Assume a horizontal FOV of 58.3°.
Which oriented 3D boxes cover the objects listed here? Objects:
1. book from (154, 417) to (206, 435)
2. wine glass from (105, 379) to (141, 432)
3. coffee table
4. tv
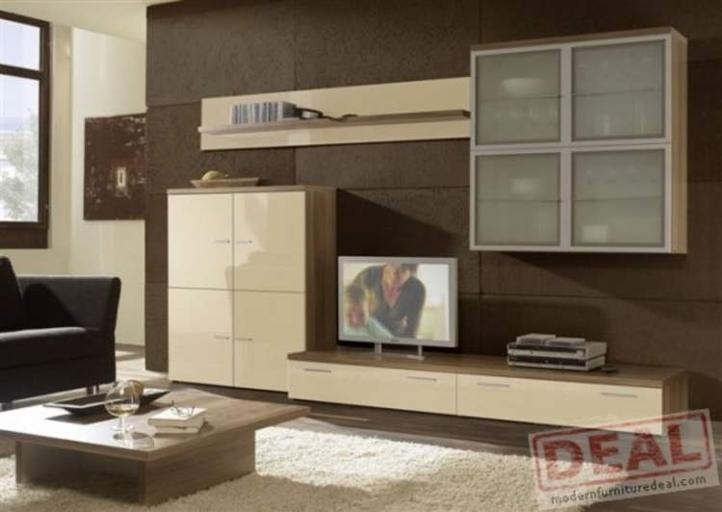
[{"bbox_3d":[-0.913,0.852,3.246,0.255,0.066,0.132,-2,6,-20],"label":"book"},{"bbox_3d":[-1.200,0.750,3.294,0.163,0.286,0.336,-2,6,-18],"label":"wine glass"},{"bbox_3d":[-1.181,1.032,3.473,1.539,0.375,0.883,1,6,8],"label":"coffee table"},{"bbox_3d":[0.298,0.394,5.047,0.796,0.582,0.083,1,2,24],"label":"tv"}]
